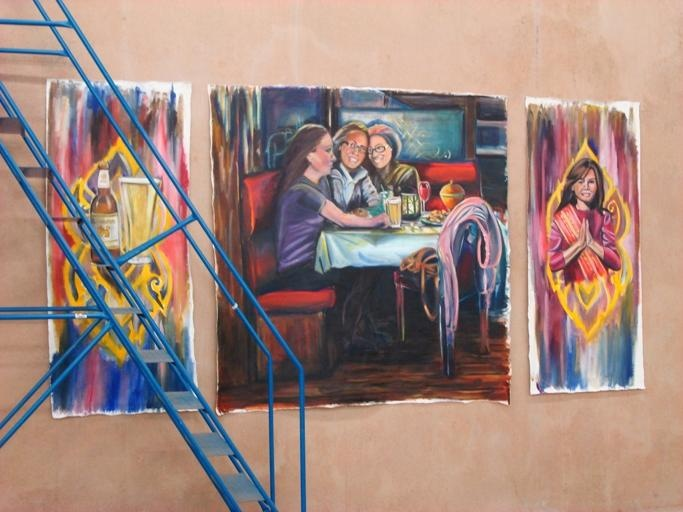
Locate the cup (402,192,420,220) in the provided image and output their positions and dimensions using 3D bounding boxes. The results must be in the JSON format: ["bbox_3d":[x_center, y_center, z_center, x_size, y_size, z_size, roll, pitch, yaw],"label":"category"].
[{"bbox_3d":[0.406,-0.297,8.561,0.120,0.146,0.121,-2,-2,0],"label":"cup"}]

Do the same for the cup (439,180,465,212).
[{"bbox_3d":[0.645,-0.356,8.506,0.137,0.185,0.159,-2,4,2],"label":"cup"}]
